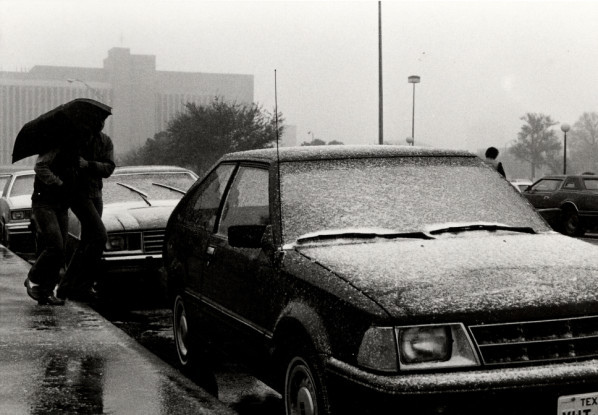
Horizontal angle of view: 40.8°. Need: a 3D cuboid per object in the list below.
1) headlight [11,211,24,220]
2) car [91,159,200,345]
[{"bbox_3d":[-5.894,0.159,16.601,0.270,0.177,0.174,1,3,-15],"label":"headlight"},{"bbox_3d":[-1.893,0.806,10.266,1.189,1.122,2.237,23,-21,-6],"label":"car"}]
